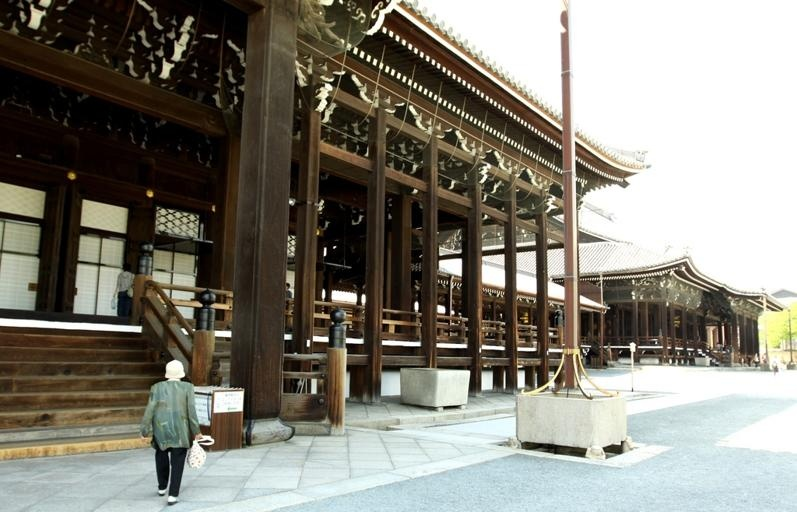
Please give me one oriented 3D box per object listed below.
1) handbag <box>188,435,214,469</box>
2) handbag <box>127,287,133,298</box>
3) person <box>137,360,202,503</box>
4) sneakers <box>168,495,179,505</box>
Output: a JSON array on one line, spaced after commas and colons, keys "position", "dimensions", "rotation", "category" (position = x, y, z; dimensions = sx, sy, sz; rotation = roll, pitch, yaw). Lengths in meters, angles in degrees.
[{"position": [-2.616, 2.584, 7.789], "dimensions": [0.347, 0.396, 0.233], "rotation": [6, -13, -30], "category": "handbag"}, {"position": [-6.857, 0.936, 15.078], "dimensions": [0.100, 0.239, 0.119], "rotation": [10, -15, -38], "category": "handbag"}, {"position": [-2.996, 2.298, 7.805], "dimensions": [0.709, 1.796, 0.292], "rotation": [5, -12, -19], "category": "person"}, {"position": [-2.897, 3.118, 7.588], "dimensions": [0.126, 0.106, 0.097], "rotation": [4, -12, -18], "category": "sneakers"}]
